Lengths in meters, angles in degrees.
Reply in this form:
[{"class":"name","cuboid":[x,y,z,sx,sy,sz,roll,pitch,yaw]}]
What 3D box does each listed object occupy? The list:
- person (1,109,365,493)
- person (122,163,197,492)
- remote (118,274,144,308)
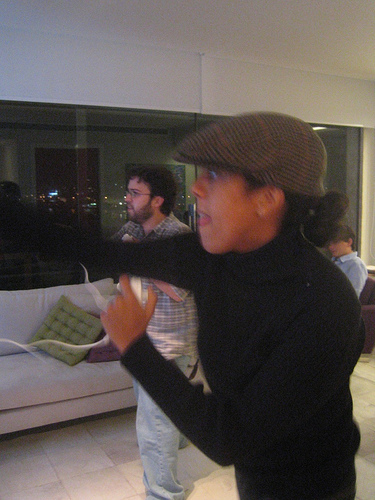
[{"class":"person","cuboid":[-0.031,-0.059,1.557,1.017,1.378,0.606,-8,22,-18]},{"class":"person","cuboid":[-0.047,0.211,0.949,0.140,0.764,0.176,-5,8,-7]},{"class":"remote","cuboid":[-0.099,0.074,0.874,0.019,0.052,0.038,-15,41,26]}]
